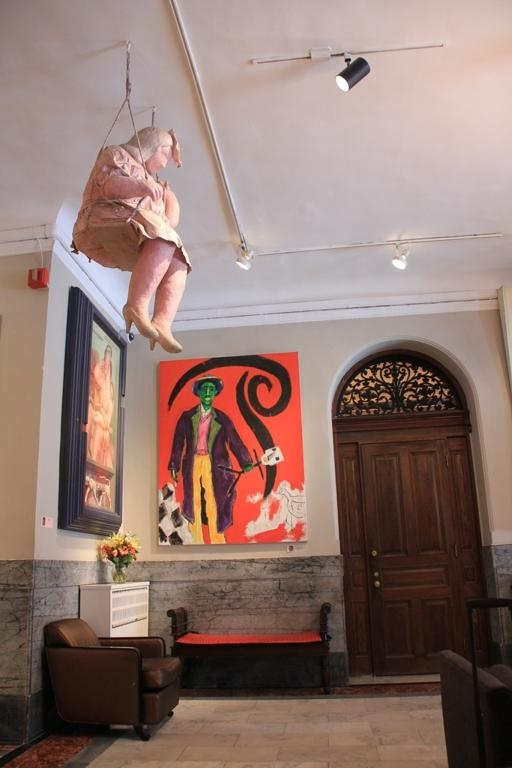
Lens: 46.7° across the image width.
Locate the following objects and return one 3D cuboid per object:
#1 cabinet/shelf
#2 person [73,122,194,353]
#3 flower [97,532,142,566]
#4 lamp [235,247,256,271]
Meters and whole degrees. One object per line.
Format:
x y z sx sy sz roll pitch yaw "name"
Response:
-1.174 1.958 5.045 0.261 0.511 0.917 -5 -17 8 "cabinet/shelf"
-0.539 -0.690 2.582 0.517 1.073 0.479 5 -19 -7 "person"
-1.220 1.444 5.270 0.316 0.329 0.319 -14 -17 35 "flower"
-0.091 -1.126 5.290 0.134 0.199 0.201 5 -30 10 "lamp"
